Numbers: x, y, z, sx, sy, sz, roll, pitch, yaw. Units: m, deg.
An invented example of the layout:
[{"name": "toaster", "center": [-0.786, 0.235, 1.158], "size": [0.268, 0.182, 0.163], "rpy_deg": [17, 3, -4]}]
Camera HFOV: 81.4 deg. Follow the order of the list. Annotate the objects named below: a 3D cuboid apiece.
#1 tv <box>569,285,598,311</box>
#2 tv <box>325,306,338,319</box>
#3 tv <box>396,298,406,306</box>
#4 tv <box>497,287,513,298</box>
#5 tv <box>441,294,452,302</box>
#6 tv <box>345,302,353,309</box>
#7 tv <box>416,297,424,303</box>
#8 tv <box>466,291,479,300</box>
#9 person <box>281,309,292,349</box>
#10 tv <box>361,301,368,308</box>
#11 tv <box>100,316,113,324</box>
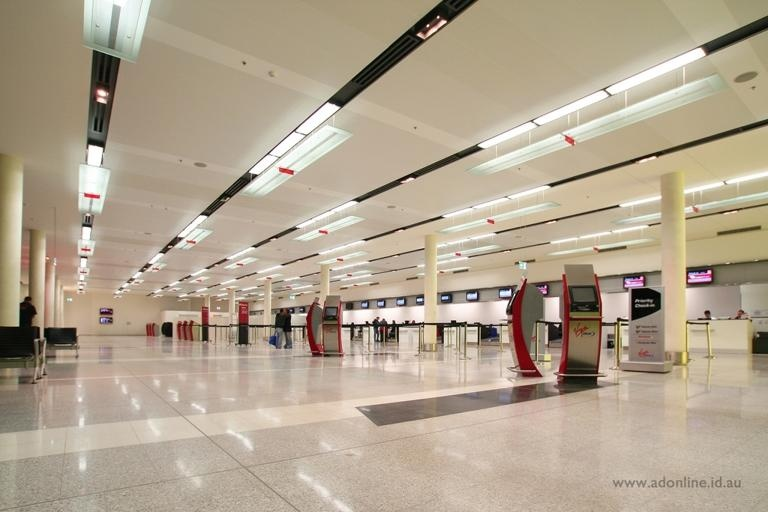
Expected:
[{"name": "tv", "center": [4.151, 0.883, 9.379], "size": [0.547, 0.532, 0.184], "rpy_deg": [-1, -2, 4]}, {"name": "tv", "center": [-1.783, 1.921, 15.102], "size": [0.497, 0.434, 0.040], "rpy_deg": [-1, -2, 15]}, {"name": "tv", "center": [1.344, 3.615, 35.696], "size": [0.301, 0.743, 1.081], "rpy_deg": [0, -3, -27]}, {"name": "tv", "center": [7.417, 2.210, 27.447], "size": [0.362, 0.819, 1.197], "rpy_deg": [5, -5, -34]}, {"name": "tv", "center": [4.433, 3.022, 32.317], "size": [0.929, 0.606, 0.109], "rpy_deg": [-2, -2, 36]}, {"name": "tv", "center": [-3.274, 4.664, 42.261], "size": [0.355, 0.578, 0.691], "rpy_deg": [-1, 0, -41]}, {"name": "tv", "center": [2.696, 3.347, 34.041], "size": [0.424, 0.677, 0.803], "rpy_deg": [5, -8, -34]}, {"name": "tv", "center": [5.908, 2.695, 30.188], "size": [0.494, 0.656, 0.951], "rpy_deg": [5, -9, -37]}, {"name": "person", "center": [-4.132, 3.157, 19.339], "size": [0.353, 1.583, 1.030], "rpy_deg": [0, -2, -13]}, {"name": "tv", "center": [-1.698, 4.309, 39.975], "size": [0.190, 0.703, 1.013], "rpy_deg": [0, -3, -30]}, {"name": "tv", "center": [-28.854, 6.730, 46.798], "size": [1.134, 0.725, 0.234], "rpy_deg": [1, -2, -30]}]
